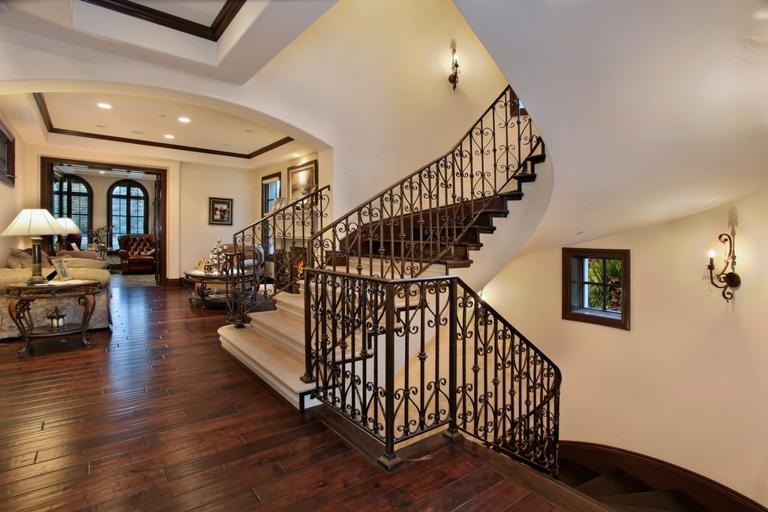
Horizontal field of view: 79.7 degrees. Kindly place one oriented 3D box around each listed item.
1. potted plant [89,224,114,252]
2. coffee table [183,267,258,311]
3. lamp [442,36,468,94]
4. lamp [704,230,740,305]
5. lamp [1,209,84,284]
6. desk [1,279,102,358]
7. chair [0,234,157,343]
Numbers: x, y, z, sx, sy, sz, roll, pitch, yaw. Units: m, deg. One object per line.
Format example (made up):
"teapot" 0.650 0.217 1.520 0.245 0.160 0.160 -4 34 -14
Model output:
"potted plant" -8.584 -0.555 13.944 0.665 0.736 0.722 -3 -1 6
"coffee table" -3.090 0.635 8.863 1.340 0.562 1.337 -2 -1 34
"lamp" 1.258 -3.449 8.306 0.175 0.756 0.326 1 -1 40
"lamp" 4.530 0.143 6.165 0.372 0.933 0.224 1 -1 36
"lamp" -4.781 -0.187 6.641 1.006 1.093 1.082 7 9 37
"desk" -4.527 0.813 6.369 1.017 1.146 0.766 2 -1 -29
"chair" -5.004 0.436 7.001 1.442 1.018 1.429 0 2 -43
